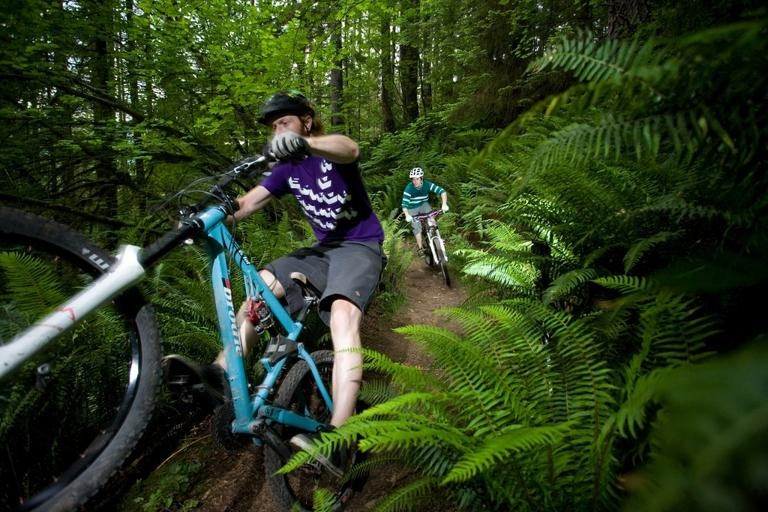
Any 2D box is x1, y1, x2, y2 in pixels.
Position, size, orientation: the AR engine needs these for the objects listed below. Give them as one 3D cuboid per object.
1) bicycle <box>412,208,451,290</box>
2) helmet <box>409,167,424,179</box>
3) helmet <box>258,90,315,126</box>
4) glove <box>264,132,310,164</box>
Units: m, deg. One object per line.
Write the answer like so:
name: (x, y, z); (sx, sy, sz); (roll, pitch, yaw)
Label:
bicycle: (0.779, -0.183, 7.998); (0.505, 0.689, 1.179); (-23, 15, 0)
helmet: (0.536, -1.359, 8.485); (0.184, 0.142, 0.287); (-1, 25, 13)
helmet: (-0.780, -1.162, 4.134); (0.352, 0.168, 0.246); (1, -22, -31)
glove: (-0.642, -0.732, 3.566); (0.205, 0.111, 0.235); (-7, 8, 1)
